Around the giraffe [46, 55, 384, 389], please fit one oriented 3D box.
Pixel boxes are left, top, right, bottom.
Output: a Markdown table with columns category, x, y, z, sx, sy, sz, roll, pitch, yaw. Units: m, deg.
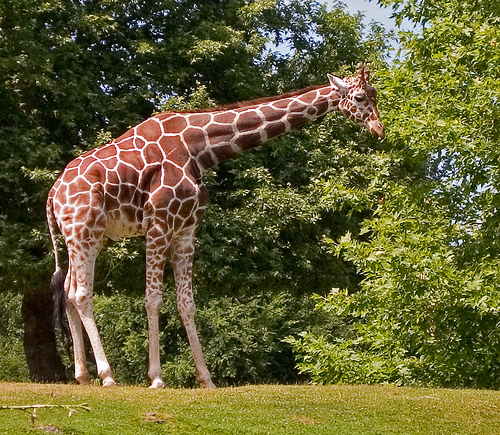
| category | x | y | z | sx | sy | sz | roll | pitch | yaw |
| --- | --- | --- | --- | --- | --- | --- | --- | --- | --- |
| giraffe | -0.820 | -0.259 | 17.949 | 4.335 | 4.692 | 6.856 | -12 | -15 | 42 |
